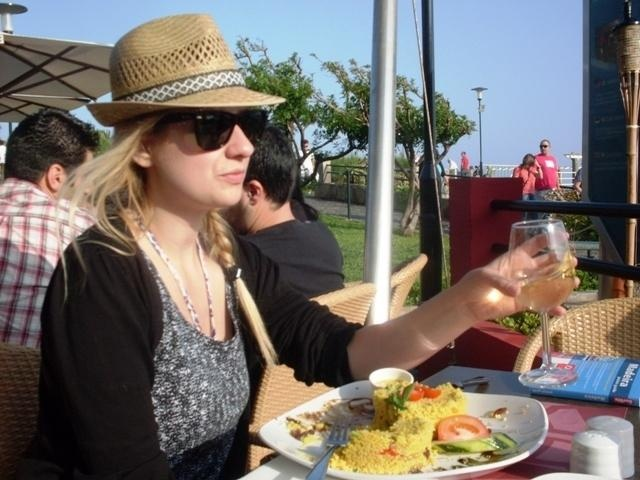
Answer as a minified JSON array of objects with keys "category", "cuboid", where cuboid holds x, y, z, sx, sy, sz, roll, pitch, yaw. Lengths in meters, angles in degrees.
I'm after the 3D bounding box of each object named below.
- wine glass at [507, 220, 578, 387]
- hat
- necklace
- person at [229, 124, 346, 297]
[{"category":"wine glass","cuboid":[0.756,0.215,1.949,0.209,0.533,0.228,-7,6,-9]},{"category":"hat","cuboid":[-0.461,-0.567,1.905,0.622,0.345,0.285,-7,13,-18]},{"category":"necklace","cuboid":[-0.496,0.105,1.966,0.247,0.401,0.228,-2,9,-23]},{"category":"person","cuboid":[-0.141,-0.151,3.359,0.760,0.966,0.962,8,10,31]}]
